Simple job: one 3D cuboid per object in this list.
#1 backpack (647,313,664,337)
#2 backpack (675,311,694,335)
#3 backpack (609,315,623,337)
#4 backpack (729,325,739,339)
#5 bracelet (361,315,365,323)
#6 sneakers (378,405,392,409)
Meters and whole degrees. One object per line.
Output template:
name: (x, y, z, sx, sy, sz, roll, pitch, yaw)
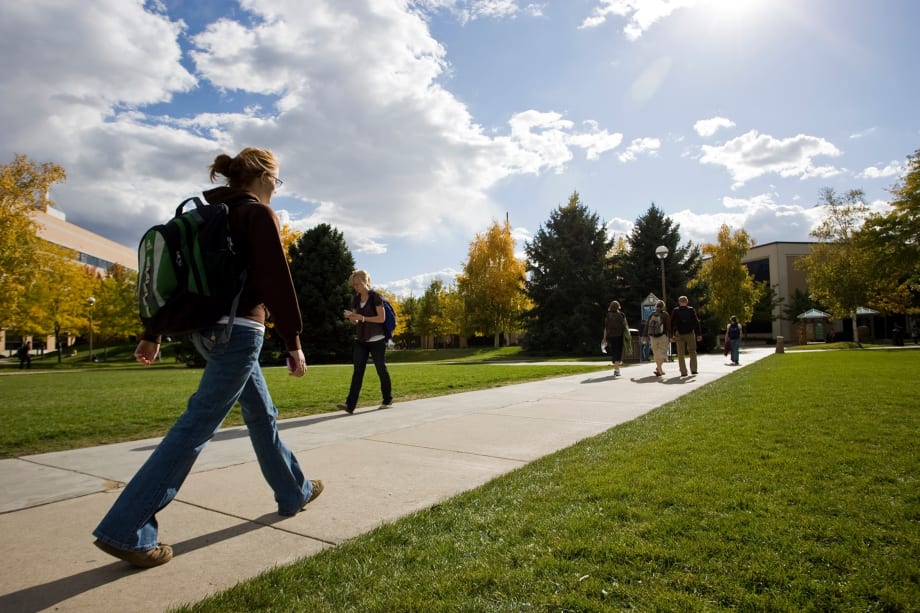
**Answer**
backpack: (4.791, 0.457, 13.696, 0.395, 0.537, 0.521, 0, 7, 25)
backpack: (5.490, 0.370, 13.737, 0.563, 0.585, 0.324, -1, 4, 27)
backpack: (3.851, 0.441, 13.872, 0.408, 0.496, 0.273, 0, 2, 16)
backpack: (9.293, 0.825, 19.123, 0.317, 0.433, 0.239, -14, -31, 33)
bracelet: (-1.500, 0.187, 8.931, 0.075, 0.101, 0.053, -1, 2, 2)
sneakers: (-1.169, 1.578, 9.028, 0.066, 0.081, 0.194, -5, -19, 20)
